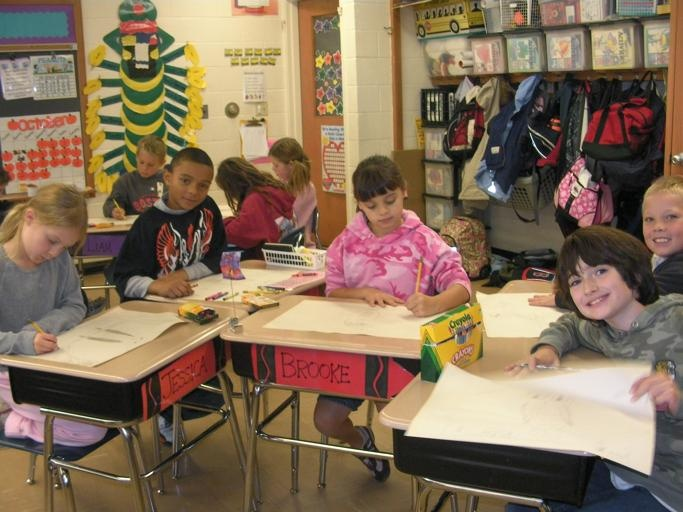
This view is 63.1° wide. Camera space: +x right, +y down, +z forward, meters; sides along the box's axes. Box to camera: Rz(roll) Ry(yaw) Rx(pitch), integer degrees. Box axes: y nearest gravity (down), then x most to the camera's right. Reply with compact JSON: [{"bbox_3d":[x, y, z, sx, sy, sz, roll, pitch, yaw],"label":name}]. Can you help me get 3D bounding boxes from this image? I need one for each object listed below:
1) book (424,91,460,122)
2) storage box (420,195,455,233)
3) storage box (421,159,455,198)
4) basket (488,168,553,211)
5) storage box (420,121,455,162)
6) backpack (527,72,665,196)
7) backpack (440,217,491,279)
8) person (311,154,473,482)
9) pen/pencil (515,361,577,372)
[{"bbox_3d":[0.890,-1.409,5.237,0.268,0.364,0.345,-14,22,-43],"label":"book"},{"bbox_3d":[0.947,-0.460,5.435,0.268,0.356,0.277,8,16,25],"label":"storage box"},{"bbox_3d":[0.954,-0.842,5.361,0.315,0.391,0.396,7,39,18],"label":"storage box"},{"bbox_3d":[1.576,-0.565,4.605,0.229,0.221,0.345,-11,17,-7],"label":"basket"},{"bbox_3d":[0.950,-1.091,5.323,0.275,0.349,0.345,11,23,35],"label":"storage box"},{"bbox_3d":[1.804,-0.883,3.844,0.734,0.903,0.379,4,1,44],"label":"backpack"},{"bbox_3d":[0.950,-0.064,4.226,0.272,0.547,0.400,-15,8,1],"label":"backpack"},{"bbox_3d":[0.209,0.309,2.294,0.621,1.413,0.556,0,12,13],"label":"person"},{"bbox_3d":[0.558,0.303,1.529,0.138,0.017,0.016,3,12,15],"label":"pen/pencil"}]
